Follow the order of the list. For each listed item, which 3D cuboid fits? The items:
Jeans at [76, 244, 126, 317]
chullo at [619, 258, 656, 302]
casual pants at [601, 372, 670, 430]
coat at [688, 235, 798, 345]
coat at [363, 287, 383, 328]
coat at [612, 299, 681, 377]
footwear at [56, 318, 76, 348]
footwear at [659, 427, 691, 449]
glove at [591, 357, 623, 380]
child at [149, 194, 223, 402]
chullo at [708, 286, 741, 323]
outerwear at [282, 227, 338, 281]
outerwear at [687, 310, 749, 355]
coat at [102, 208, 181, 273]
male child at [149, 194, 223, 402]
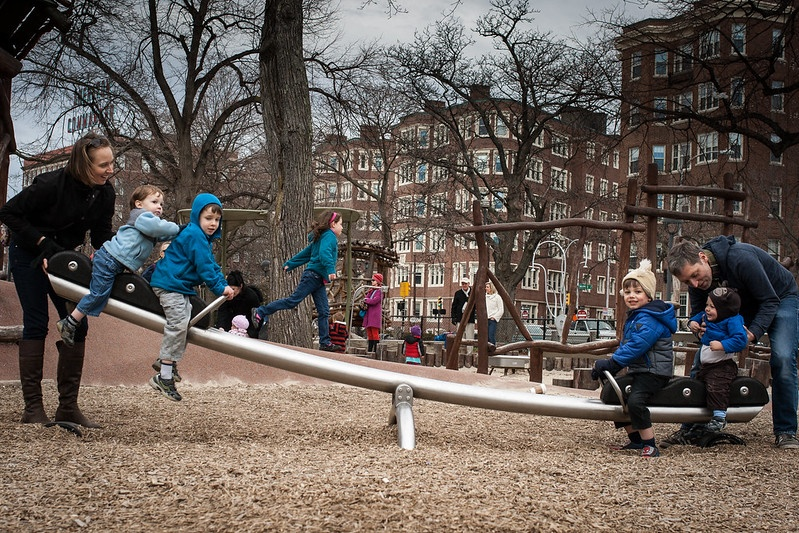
[{"bbox_3d":[-2.889,0.171,8.654,0.204,0.682,0.467,8,10,39],"label":"Jeans"},{"bbox_3d":[2.503,0.123,9.201,0.400,0.370,0.397,0,0,-12],"label":"chullo"},{"bbox_3d":[2.537,1.322,9.090,0.535,0.601,0.492,-6,13,-9],"label":"casual pants"},{"bbox_3d":[3.610,0.259,9.662,1.151,1.077,0.929,-8,-8,-8],"label":"coat"},{"bbox_3d":[-0.515,0.819,18.055,0.379,0.839,0.386,5,2,-35],"label":"coat"},{"bbox_3d":[2.492,0.769,9.213,0.753,0.820,0.702,1,-4,-9],"label":"coat"},{"bbox_3d":[-3.234,0.654,8.674,0.166,0.323,0.257,-2,8,-23],"label":"footwear"},{"bbox_3d":[2.859,1.791,9.239,0.378,0.161,0.149,2,-9,-8],"label":"footwear"},{"bbox_3d":[2.094,1.057,8.905,0.265,0.096,0.194,-15,15,-23],"label":"glove"},{"bbox_3d":[-2.057,0.324,9.066,0.924,2.053,0.532,7,5,8],"label":"child"},{"bbox_3d":[3.387,0.385,9.143,0.297,0.314,0.241,-1,16,6],"label":"chullo"},{"bbox_3d":[-1.302,-0.157,13.036,0.343,0.502,0.759,15,-6,-28],"label":"outerwear"},{"bbox_3d":[3.327,0.679,9.216,0.439,0.412,0.733,-5,15,-17],"label":"outerwear"},{"bbox_3d":[-2.551,-0.243,8.928,0.780,0.638,0.490,11,-9,-18],"label":"coat"},{"bbox_3d":[-2.069,0.324,9.056,0.925,2.022,0.531,6,4,2],"label":"male child"}]
